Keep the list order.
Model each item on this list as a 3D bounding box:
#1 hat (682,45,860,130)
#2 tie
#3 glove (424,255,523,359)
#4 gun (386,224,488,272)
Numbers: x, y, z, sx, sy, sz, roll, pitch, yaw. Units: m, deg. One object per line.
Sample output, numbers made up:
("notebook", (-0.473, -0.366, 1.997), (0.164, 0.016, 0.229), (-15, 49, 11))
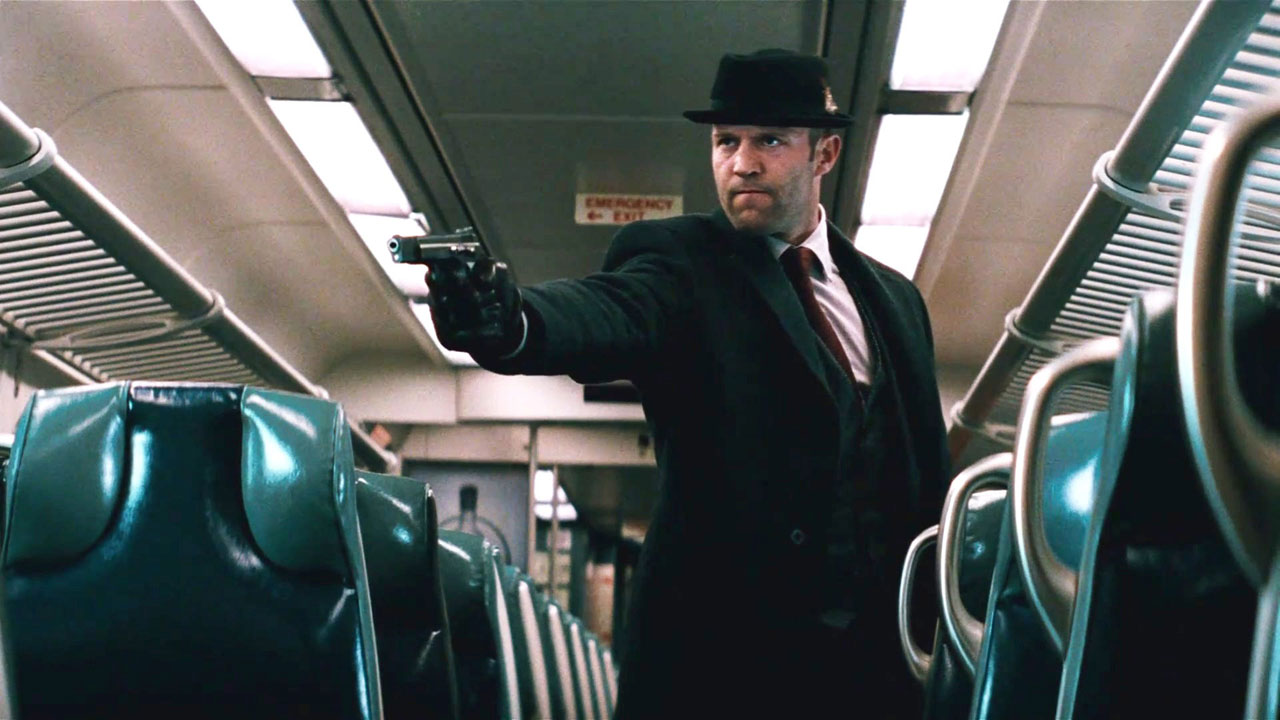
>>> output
("hat", (0.503, -0.899, 3.273), (0.545, 0.247, 0.663), (10, 27, 37))
("tie", (0.504, -0.213, 3.136), (0.108, 0.076, 0.626), (-24, 54, 5))
("glove", (-0.406, -0.129, 2.496), (0.225, 0.287, 0.141), (-13, 17, -5))
("gun", (-0.507, -0.276, 2.476), (0.216, 0.098, 0.156), (-16, 17, -15))
